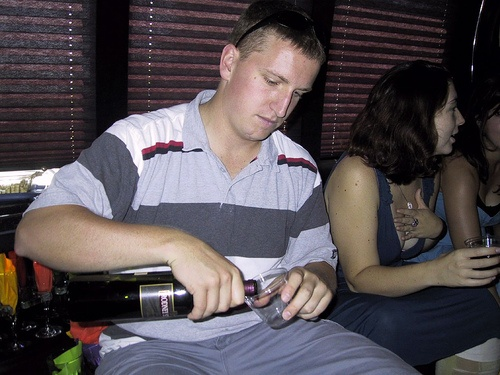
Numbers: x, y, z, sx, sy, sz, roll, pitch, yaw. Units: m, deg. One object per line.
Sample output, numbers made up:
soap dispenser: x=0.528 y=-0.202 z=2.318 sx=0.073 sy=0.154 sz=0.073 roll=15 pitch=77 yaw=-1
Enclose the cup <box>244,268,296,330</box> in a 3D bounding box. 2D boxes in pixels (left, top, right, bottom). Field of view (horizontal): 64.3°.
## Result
cup: x=0.075 y=0.377 z=1.436 sx=0.185 sy=0.153 sz=0.197 roll=-33 pitch=-3 yaw=-2
